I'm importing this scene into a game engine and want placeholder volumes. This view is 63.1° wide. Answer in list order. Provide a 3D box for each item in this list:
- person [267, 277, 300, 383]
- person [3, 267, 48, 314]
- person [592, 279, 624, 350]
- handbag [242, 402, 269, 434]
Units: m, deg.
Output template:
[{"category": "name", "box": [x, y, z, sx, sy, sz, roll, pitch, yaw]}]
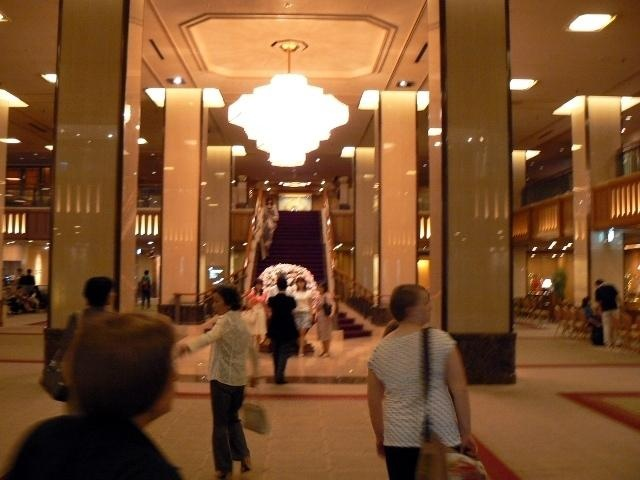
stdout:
[{"category": "person", "box": [-0.510, 1.298, 7.102, 0.406, 1.260, 0.327, 2, -5, -6]}, {"category": "person", "box": [-10.342, 1.807, 18.370, 0.766, 1.502, 1.851, 2, -5, -6]}, {"category": "person", "box": [5.940, 1.512, 10.771, 0.405, 1.376, 1.765, -2, -5, 29]}, {"category": "handbag", "box": [-0.464, 1.327, 3.868, 0.230, 0.235, 0.153, -1, -5, 26]}]
